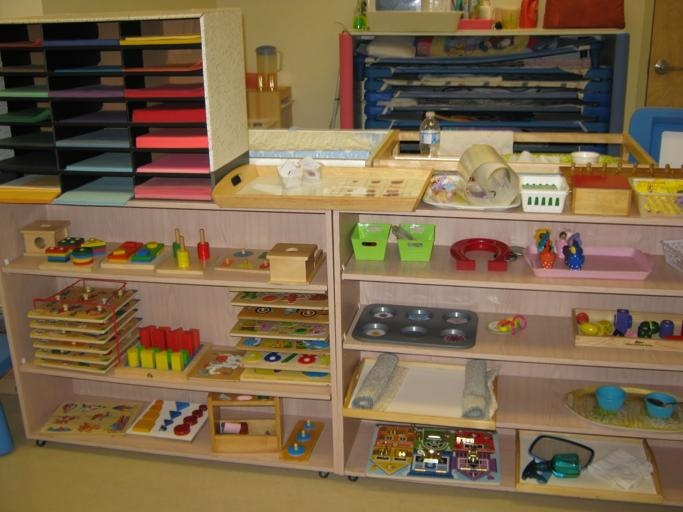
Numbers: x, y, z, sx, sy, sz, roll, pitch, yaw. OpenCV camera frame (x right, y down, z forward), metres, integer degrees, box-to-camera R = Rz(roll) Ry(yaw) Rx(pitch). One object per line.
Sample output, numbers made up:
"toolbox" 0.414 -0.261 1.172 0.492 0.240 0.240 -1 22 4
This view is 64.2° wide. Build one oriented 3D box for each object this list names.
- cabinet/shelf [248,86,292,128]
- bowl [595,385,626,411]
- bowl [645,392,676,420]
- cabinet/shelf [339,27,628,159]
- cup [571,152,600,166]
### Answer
"cabinet/shelf" -0.620 -1.430 5.358 0.456 0.264 0.211 20 29 10
"bowl" 1.200 0.652 2.478 0.127 0.061 0.107 -8 20 4
"bowl" 1.406 0.670 2.430 0.111 0.067 0.130 1 3 41
"cabinet/shelf" 1.135 -1.277 4.126 1.973 1.353 0.604 1 15 5
"cup" 1.150 -0.469 2.609 0.169 0.058 0.150 6 12 21
